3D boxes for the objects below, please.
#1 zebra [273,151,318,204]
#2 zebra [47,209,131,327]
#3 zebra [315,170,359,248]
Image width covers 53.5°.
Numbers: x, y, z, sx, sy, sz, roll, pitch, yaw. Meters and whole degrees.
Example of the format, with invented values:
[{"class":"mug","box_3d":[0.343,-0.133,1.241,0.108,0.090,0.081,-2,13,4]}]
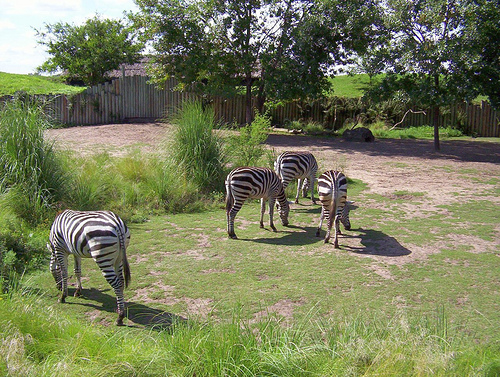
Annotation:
[{"class":"zebra","box_3d":[1.353,-0.350,13.568,0.567,1.573,2.161,2,2,39]},{"class":"zebra","box_3d":[-2.921,1.188,8.597,2.514,1.958,0.679,6,8,38]},{"class":"zebra","box_3d":[1.945,0.374,11.253,0.756,1.572,1.905,2,5,12]}]
